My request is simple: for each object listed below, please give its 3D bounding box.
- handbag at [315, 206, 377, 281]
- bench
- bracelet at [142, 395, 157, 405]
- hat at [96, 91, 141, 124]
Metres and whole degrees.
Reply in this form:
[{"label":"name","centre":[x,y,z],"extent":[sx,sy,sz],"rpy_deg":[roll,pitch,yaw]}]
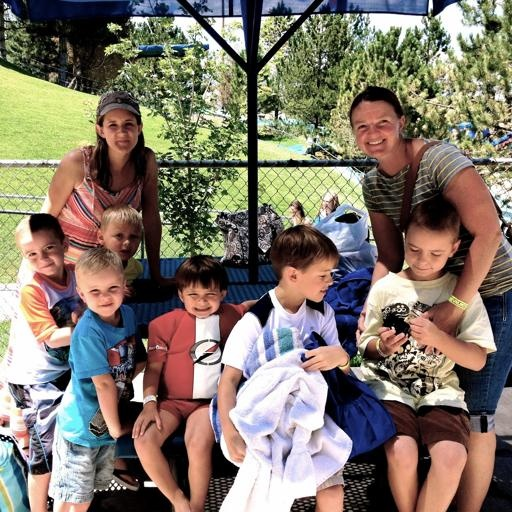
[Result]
[{"label":"handbag","centre":[0.659,-0.108,3.797],"extent":[0.573,0.579,0.649],"rpy_deg":[2,-12,2]},{"label":"bench","centre":[0.010,0.594,2.329],"extent":[1.247,0.283,1.240],"rpy_deg":[1,17,3]},{"label":"bracelet","centre":[-0.426,0.573,2.004],"extent":[0.045,0.040,0.026],"rpy_deg":[5,47,-5]},{"label":"hat","centre":[-0.719,-0.779,2.615],"extent":[0.179,0.102,0.209],"rpy_deg":[1,8,-3]}]
